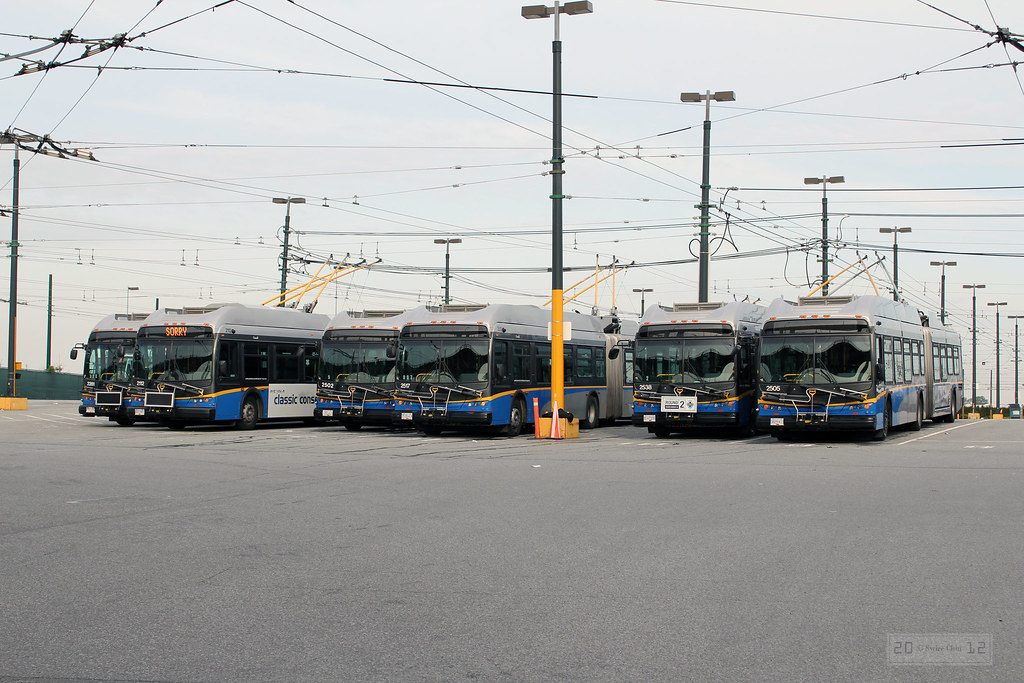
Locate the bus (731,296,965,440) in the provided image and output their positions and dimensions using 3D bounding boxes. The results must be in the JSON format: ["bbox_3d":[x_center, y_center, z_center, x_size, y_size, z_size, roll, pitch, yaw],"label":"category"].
[{"bbox_3d":[11.686,0.873,33.273,3.374,3.768,13.942,-1,-2,33],"label":"bus"}]

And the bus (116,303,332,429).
[{"bbox_3d":[-9.187,0.916,36.245,3.423,3.640,10.117,0,-2,14],"label":"bus"}]

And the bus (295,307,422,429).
[{"bbox_3d":[-3.914,1.005,36.457,3.190,3.818,9.186,0,-2,9],"label":"bus"}]

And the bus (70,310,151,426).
[{"bbox_3d":[-14.915,1.100,39.257,3.072,4.073,9.113,5,-5,-23],"label":"bus"}]
